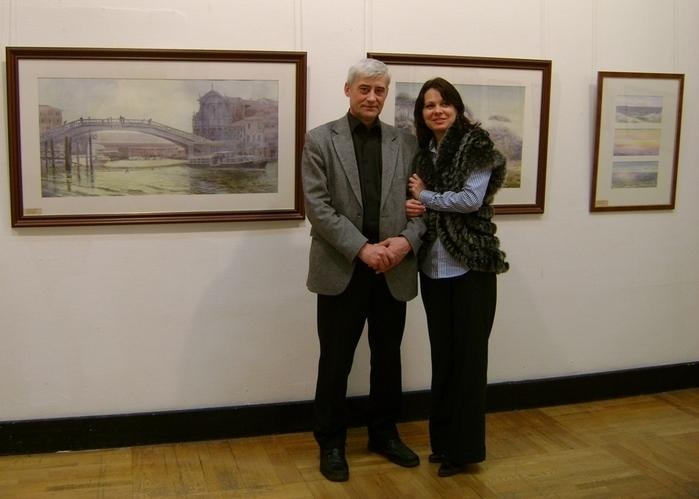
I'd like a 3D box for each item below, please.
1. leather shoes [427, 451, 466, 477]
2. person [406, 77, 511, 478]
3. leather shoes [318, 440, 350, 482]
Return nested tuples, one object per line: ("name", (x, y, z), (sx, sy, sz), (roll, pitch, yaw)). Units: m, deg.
("leather shoes", (0.630, 1.432, 3.642), (0.092, 0.114, 0.271), (-15, 21, -43))
("person", (0.678, 0.197, 3.561), (0.667, 2.528, 0.472), (4, 11, 16))
("leather shoes", (-0.105, 1.392, 3.579), (0.113, 0.122, 0.307), (0, 0, -8))
